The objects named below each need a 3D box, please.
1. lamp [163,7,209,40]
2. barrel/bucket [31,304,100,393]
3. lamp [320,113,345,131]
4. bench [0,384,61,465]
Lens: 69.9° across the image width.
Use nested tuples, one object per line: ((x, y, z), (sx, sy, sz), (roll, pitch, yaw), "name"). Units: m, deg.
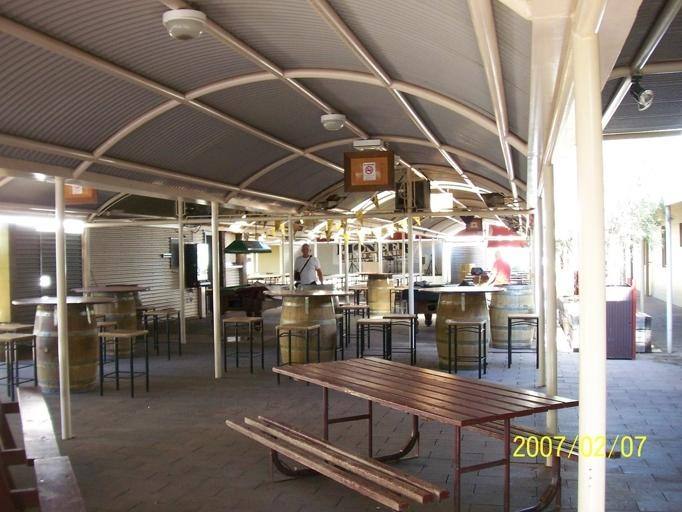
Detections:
((-1.501, -2.204, 4.652), (0.338, 0.220, 0.309), (0, 0, -34), "lamp")
((-4.478, 1.538, 8.062), (0.910, 1.565, 0.681), (1, -1, -25), "barrel/bucket")
((-0.105, -2.218, 7.966), (0.327, 0.264, 0.368), (0, 0, 8), "lamp")
((-3.108, 1.712, 4.954), (0.313, 0.256, 1.584), (2, -1, -33), "bench")
